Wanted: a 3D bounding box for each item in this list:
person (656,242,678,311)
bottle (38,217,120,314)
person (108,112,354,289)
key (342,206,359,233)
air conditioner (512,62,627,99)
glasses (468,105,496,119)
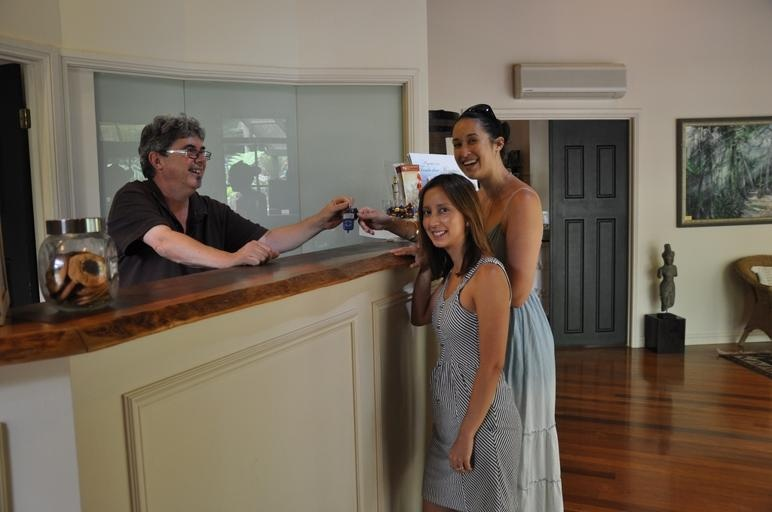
[{"bbox_3d":[3.048,0.243,6.194,0.195,0.774,0.367,3,10,28],"label":"person"},{"bbox_3d":[-1.068,0.018,1.991,0.260,0.314,0.249,1,10,0],"label":"bottle"},{"bbox_3d":[-0.738,-0.223,3.185,1.019,1.324,1.020,1,3,24],"label":"person"},{"bbox_3d":[-0.176,-0.191,2.950,0.095,0.190,0.136,2,3,0],"label":"key"},{"bbox_3d":[1.928,-1.840,6.060,1.156,0.387,0.215,1,-5,3],"label":"air conditioner"},{"bbox_3d":[0.459,-0.701,2.778,0.103,0.044,0.082,16,16,21],"label":"glasses"}]
